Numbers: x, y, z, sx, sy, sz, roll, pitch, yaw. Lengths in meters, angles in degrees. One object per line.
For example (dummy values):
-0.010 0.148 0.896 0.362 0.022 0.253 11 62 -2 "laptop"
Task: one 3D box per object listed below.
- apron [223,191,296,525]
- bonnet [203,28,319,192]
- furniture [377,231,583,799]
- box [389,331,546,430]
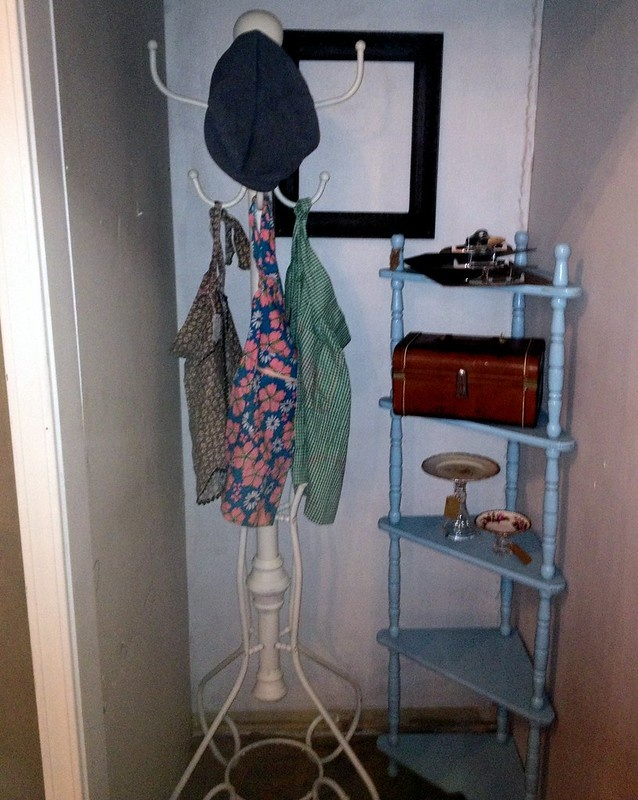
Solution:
-0.116 -0.062 1.842 0.123 0.751 0.226 5 7 29 "apron"
-0.112 -0.557 1.622 0.184 0.314 0.097 -4 18 -4 "bonnet"
0.370 0.335 2.106 0.464 1.519 0.772 4 7 14 "furniture"
0.331 -0.052 1.878 0.331 0.192 0.192 7 8 22 "box"
